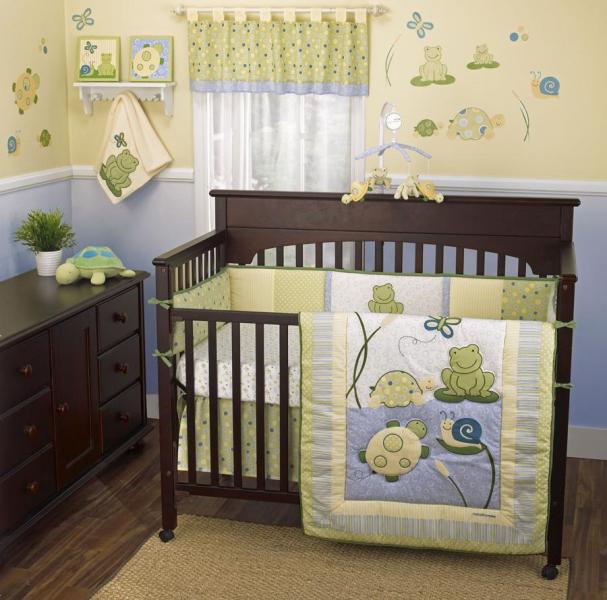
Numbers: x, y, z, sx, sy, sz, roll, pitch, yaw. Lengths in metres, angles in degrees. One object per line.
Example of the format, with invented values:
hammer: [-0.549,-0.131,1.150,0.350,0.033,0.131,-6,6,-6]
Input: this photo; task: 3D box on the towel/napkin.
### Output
towel/napkin: [-0.750,-0.653,2.825,0.318,0.421,0.098,-13,10,8]

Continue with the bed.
bed: [0.232,0.192,2.167,1.229,1.094,0.749,2,10,17]

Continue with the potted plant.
potted plant: [-0.998,-0.224,2.487,0.180,0.217,0.190,11,4,-30]

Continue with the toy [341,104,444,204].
toy: [0.339,-0.570,2.481,0.380,0.331,0.396,-6,5,18]
